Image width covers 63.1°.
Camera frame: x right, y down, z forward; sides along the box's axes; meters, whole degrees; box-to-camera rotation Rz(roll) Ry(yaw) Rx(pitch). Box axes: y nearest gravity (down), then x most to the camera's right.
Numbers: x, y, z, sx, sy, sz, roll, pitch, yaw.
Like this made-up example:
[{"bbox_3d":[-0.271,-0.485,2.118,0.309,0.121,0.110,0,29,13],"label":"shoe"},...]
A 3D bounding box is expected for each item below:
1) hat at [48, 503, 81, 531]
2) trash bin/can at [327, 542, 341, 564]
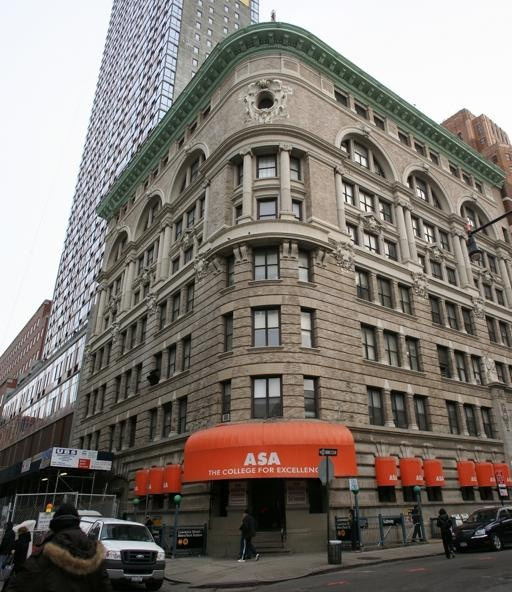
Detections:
[{"bbox_3d":[-1.402,1.620,3.089,0.216,0.223,0.239,12,-31,-38],"label":"hat"},{"bbox_3d":[2.753,9.019,14.672,0.484,0.705,0.537,-2,-32,5],"label":"trash bin/can"}]
